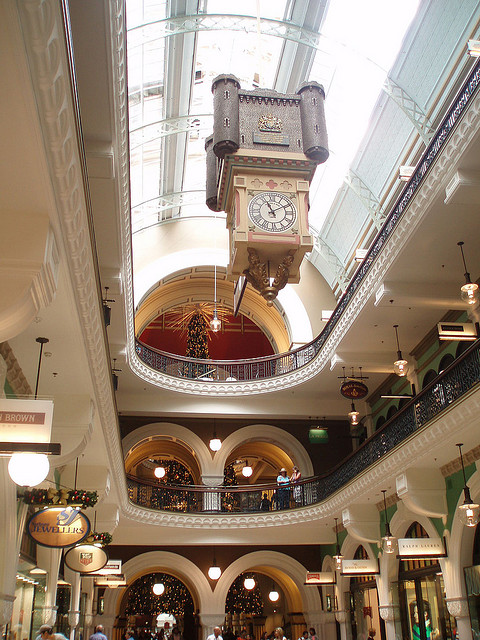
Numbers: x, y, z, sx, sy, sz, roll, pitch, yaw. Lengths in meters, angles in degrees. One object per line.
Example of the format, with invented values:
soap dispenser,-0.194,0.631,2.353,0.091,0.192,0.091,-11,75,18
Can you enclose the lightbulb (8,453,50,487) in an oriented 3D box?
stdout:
lightbulb,-2.119,1.464,4.536,0.336,0.435,0.413,2,-15,-4

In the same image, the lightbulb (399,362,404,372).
lightbulb,4.181,1.227,11.897,0.094,0.184,0.122,-4,-32,7

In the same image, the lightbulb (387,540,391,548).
lightbulb,4.012,6.039,12.327,0.104,0.172,0.099,0,-31,0

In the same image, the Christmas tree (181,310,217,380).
Christmas tree,-2.350,1.372,26.119,1.731,3.972,2.118,4,-41,-7

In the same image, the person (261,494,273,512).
person,1.119,7.782,19.370,0.589,1.044,0.320,-8,-28,18

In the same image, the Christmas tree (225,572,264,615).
Christmas tree,0.298,17.297,29.010,2.294,2.296,1.796,1,-32,-1

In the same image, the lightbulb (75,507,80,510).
lightbulb,-2.656,3.106,7.508,0.055,0.067,0.034,0,-36,-2

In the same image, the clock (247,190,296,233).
clock,0.577,-1.846,7.814,0.657,0.780,0.808,3,-44,8

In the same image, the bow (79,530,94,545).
bow,-3.427,4.983,10.426,0.219,0.407,0.835,8,-36,-13
